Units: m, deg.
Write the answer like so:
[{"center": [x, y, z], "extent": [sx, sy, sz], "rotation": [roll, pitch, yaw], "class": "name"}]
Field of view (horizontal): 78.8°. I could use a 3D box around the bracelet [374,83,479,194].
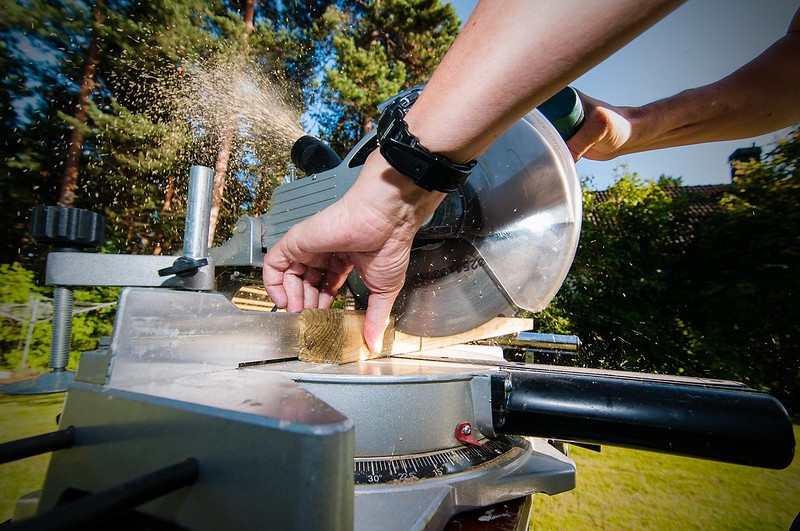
[{"center": [0.124, -0.562, 2.169], "extent": [0.462, 0.459, 0.275], "rotation": [18, -58, -35], "class": "bracelet"}]
